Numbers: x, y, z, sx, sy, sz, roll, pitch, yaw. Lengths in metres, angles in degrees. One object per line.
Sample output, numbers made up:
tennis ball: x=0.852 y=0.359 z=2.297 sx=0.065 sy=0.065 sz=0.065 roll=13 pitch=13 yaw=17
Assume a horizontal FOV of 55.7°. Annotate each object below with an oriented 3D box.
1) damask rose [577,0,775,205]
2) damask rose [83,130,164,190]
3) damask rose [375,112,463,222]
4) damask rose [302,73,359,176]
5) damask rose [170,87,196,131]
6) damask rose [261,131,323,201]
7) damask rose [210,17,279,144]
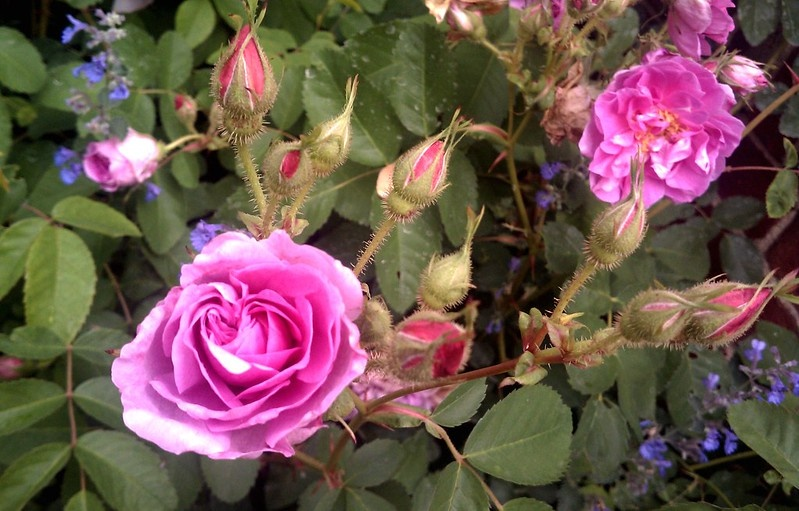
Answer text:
damask rose: x=0.643 y=-0.349 z=1.976 sx=0.448 sy=0.472 sz=0.242 roll=11 pitch=15 yaw=3
damask rose: x=-0.730 y=-0.250 z=2.000 sx=0.175 sy=0.147 sz=0.096 roll=-22 pitch=19 yaw=-17
damask rose: x=0.050 y=-0.228 z=1.955 sx=0.156 sy=0.303 sz=0.140 roll=31 pitch=22 yaw=-14
damask rose: x=-0.153 y=-0.297 z=1.743 sx=0.094 sy=0.250 sz=0.108 roll=44 pitch=38 yaw=19
damask rose: x=-0.621 y=-0.425 z=2.206 sx=0.054 sy=0.116 sz=0.053 roll=10 pitch=28 yaw=37
damask rose: x=-0.250 y=-0.221 z=1.766 sx=0.108 sy=0.130 sz=0.079 roll=29 pitch=29 yaw=-2
damask rose: x=-0.351 y=-0.386 z=1.709 sx=0.145 sy=0.271 sz=0.089 roll=14 pitch=30 yaw=-17
